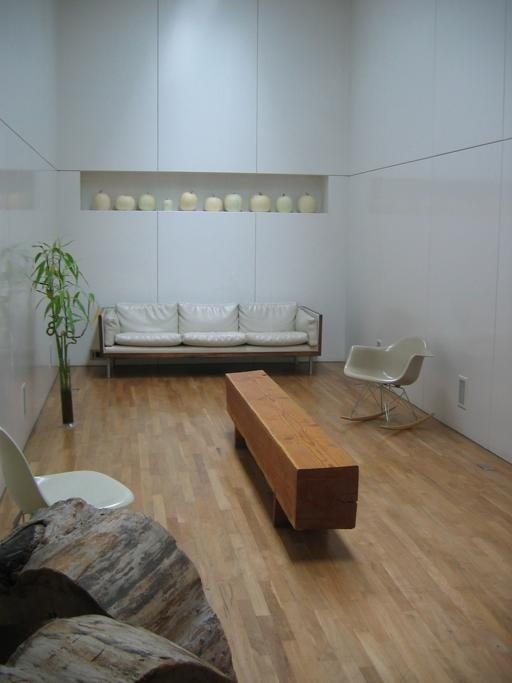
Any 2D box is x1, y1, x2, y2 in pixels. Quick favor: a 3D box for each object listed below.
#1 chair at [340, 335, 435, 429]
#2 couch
[{"bbox_3d":[1.244,0.368,4.694,0.693,0.910,0.736,6,5,38],"label":"chair"},{"bbox_3d":[-0.647,-0.069,7.011,2.929,0.914,1.066,-1,7,-10],"label":"couch"}]
